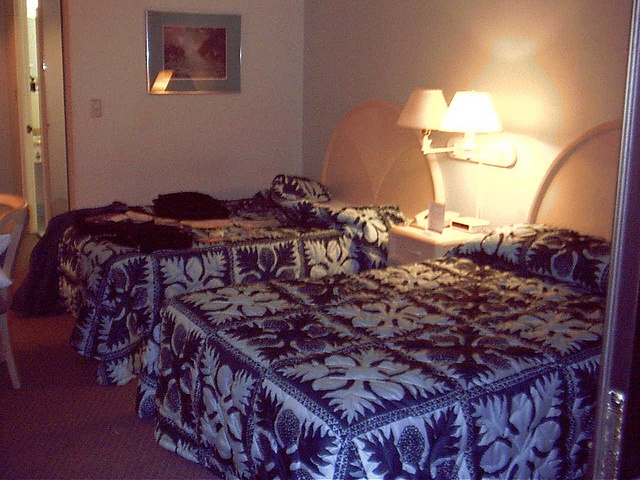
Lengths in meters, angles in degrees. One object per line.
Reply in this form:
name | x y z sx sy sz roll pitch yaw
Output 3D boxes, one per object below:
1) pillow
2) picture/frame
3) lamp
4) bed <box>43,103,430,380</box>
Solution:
pillow | 1.203 0.057 2.970 0.694 0.173 0.467 20 30 41
picture/frame | -1.216 -1.795 5.063 0.810 0.657 0.029 -5 11 -30
lamp | 0.873 -0.831 3.565 0.853 0.475 0.411 17 27 42
bed | -0.618 -0.042 4.215 2.463 1.676 1.766 -7 21 -30
